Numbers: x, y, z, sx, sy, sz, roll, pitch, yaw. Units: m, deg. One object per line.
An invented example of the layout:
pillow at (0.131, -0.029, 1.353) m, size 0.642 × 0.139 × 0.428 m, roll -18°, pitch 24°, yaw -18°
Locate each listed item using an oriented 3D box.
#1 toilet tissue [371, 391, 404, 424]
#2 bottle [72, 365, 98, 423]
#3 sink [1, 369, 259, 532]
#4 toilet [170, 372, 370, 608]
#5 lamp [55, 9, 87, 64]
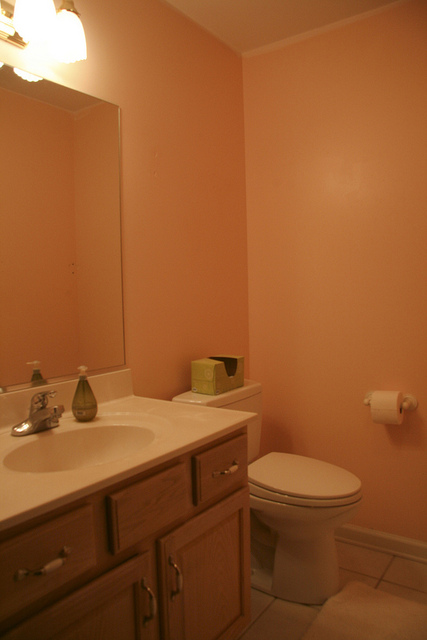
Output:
toilet tissue at (0.658, 0.323, 1.803) m, size 0.134 × 0.148 × 0.103 m, roll 2°, pitch 4°, yaw 26°
bottle at (-0.342, 0.190, 1.246) m, size 0.059 × 0.154 × 0.064 m, roll 0°, pitch 10°, yaw 0°
sink at (-0.376, 0.213, 1.237) m, size 0.910 × 0.203 × 0.526 m, roll -6°, pitch 6°, yaw -45°
toilet at (0.246, 0.624, 1.733) m, size 0.551 × 0.716 × 0.360 m, roll 2°, pitch 8°, yaw 32°
lamp at (-0.384, -0.751, 1.269) m, size 0.052 × 0.111 × 0.095 m, roll 3°, pitch 9°, yaw -9°
